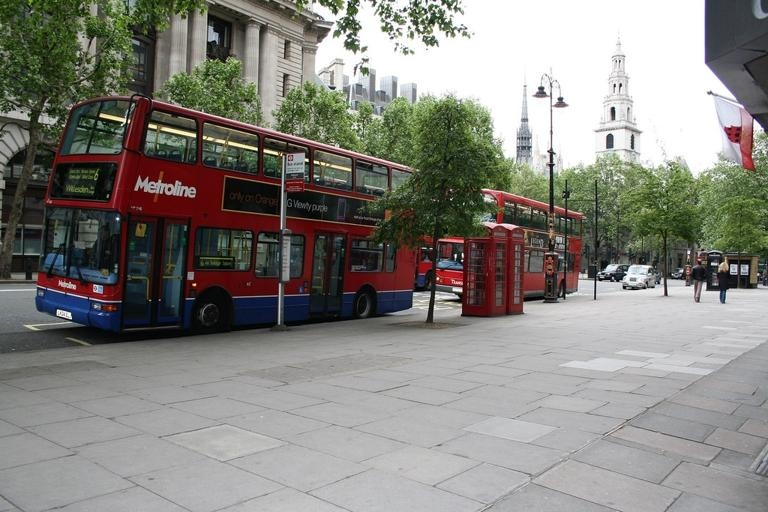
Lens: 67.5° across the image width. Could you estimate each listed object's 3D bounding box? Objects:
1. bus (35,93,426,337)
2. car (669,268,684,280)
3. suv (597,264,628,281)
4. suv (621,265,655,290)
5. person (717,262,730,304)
[{"bbox_3d":[-3.887,-0.955,18.277,3.409,5.285,12.251,7,2,32],"label":"bus"},{"bbox_3d":[45.868,2.714,89.747,1.408,1.146,2.481,-5,-10,37],"label":"car"},{"bbox_3d":[25.914,1.807,64.793,3.431,1.590,1.946,5,-7,-36],"label":"suv"},{"bbox_3d":[21.220,1.766,47.565,1.692,1.362,3.006,-3,-6,35],"label":"suv"},{"bbox_3d":[17.698,1.281,29.825,0.340,2.273,1.356,-1,-3,28],"label":"person"}]
